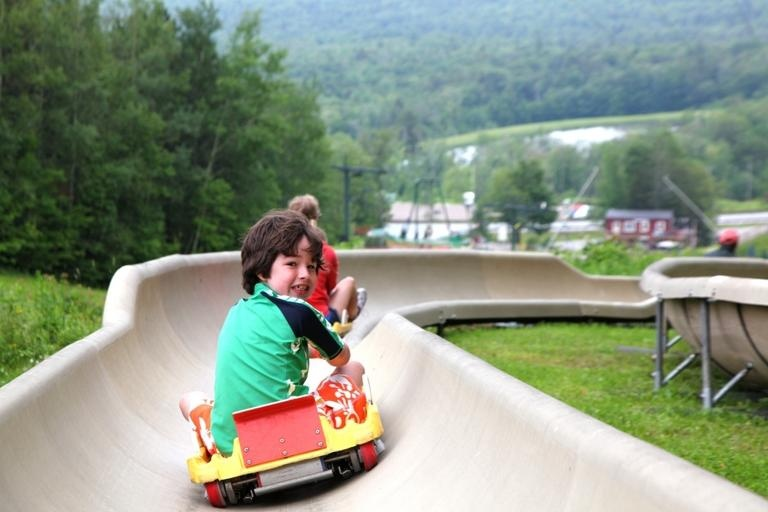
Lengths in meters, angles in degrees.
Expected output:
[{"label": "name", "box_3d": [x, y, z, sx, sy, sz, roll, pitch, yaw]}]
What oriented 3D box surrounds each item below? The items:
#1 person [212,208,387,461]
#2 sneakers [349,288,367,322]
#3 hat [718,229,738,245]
[{"label": "person", "box_3d": [-0.690, 0.524, 4.612, 1.163, 1.663, 0.997, -2, -2, 35]}, {"label": "sneakers", "box_3d": [-0.251, 0.502, 7.203, 0.184, 0.275, 0.111, -12, -33, 38]}, {"label": "hat", "box_3d": [4.343, -0.227, 8.495, 0.191, 0.177, 0.339, 1, 7, 22]}]
